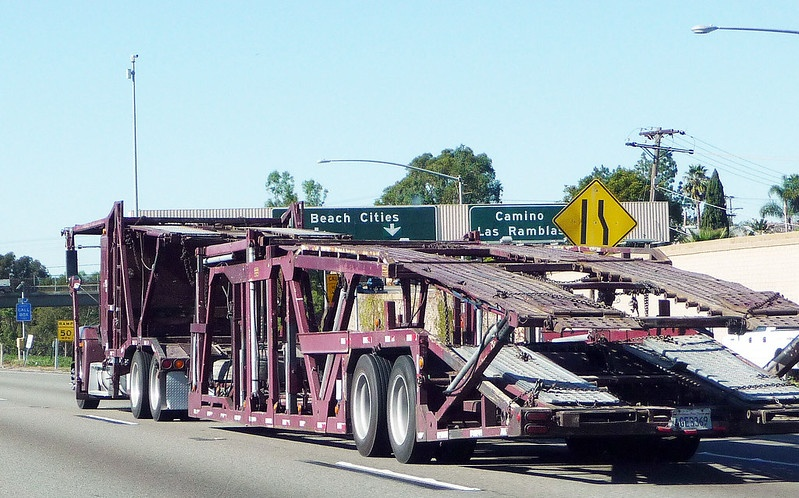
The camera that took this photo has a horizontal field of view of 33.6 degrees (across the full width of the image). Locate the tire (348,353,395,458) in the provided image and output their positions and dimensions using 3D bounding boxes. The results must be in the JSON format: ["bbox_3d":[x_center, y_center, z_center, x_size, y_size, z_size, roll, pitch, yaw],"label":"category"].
[{"bbox_3d":[-0.499,2.978,25.333,0.757,2.279,2.008,0,-3,-15],"label":"tire"}]

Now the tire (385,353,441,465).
[{"bbox_3d":[0.289,3.048,25.195,0.699,2.061,2.371,2,-4,-14],"label":"tire"}]

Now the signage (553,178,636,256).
[{"bbox_3d":[4.464,-0.780,30.280,2.121,1.531,0.063,2,2,32],"label":"signage"}]

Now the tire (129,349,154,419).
[{"bbox_3d":[-6.183,3.276,31.881,0.695,1.950,1.761,1,-1,-13],"label":"tire"}]
